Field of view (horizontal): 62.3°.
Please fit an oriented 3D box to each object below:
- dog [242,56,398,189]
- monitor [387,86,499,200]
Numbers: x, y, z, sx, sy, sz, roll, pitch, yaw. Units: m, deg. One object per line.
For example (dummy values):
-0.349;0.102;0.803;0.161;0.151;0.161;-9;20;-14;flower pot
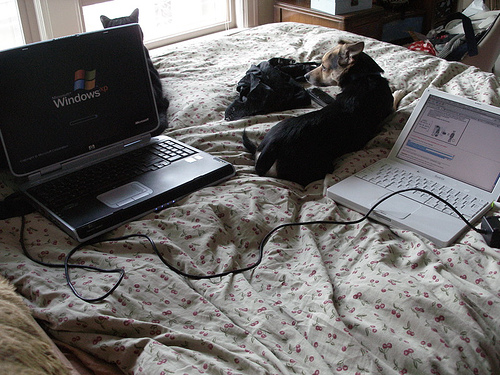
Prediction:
0.255;-0.249;1.590;0.737;0.348;0.254;-39;43;-21;dog
0.633;-0.134;1.363;0.353;0.204;0.254;34;42;30;monitor
